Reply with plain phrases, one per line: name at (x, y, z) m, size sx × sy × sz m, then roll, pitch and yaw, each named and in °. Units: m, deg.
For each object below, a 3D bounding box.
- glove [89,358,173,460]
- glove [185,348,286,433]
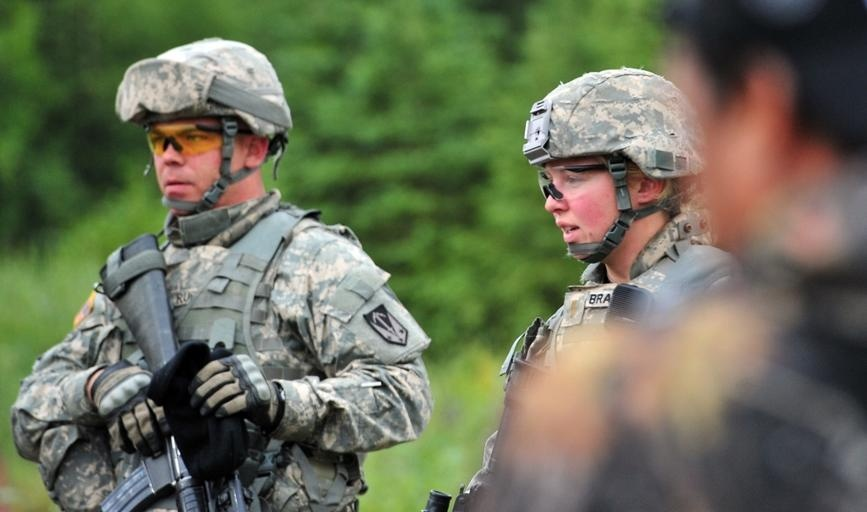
glove at (-2.017, 1.004, 10.060) m, size 0.457 × 0.599 × 0.251 m, roll -33°, pitch -11°, yaw 14°
glove at (-1.250, 0.870, 9.745) m, size 0.238 × 0.473 × 0.605 m, roll -2°, pitch -8°, yaw 40°
